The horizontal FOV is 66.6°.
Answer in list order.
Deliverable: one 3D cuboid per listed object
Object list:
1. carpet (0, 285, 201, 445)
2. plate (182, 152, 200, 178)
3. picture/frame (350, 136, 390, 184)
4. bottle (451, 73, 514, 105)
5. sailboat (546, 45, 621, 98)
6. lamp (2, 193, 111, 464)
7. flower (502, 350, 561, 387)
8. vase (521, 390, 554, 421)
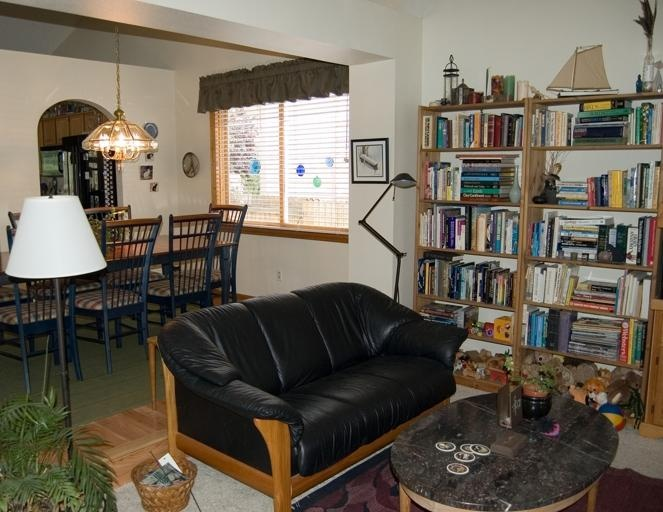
[{"bbox_3d":[-1.892,0.638,3.993,1.342,0.332,0.922,12,15,40],"label":"carpet"},{"bbox_3d":[-1.870,-1.226,6.750,0.319,0.322,0.027,14,15,42],"label":"plate"},{"bbox_3d":[0.361,-0.873,4.548,0.444,0.444,0.031,6,9,37],"label":"picture/frame"},{"bbox_3d":[1.277,-1.391,4.221,0.387,0.239,0.165,4,6,40],"label":"bottle"},{"bbox_3d":[1.885,-1.371,3.736,0.570,0.444,0.038,3,8,20],"label":"sailboat"},{"bbox_3d":[-1.235,0.320,2.411,0.517,1.206,0.418,7,13,44],"label":"lamp"},{"bbox_3d":[1.382,0.769,3.456,0.429,0.108,0.408,5,8,30],"label":"flower"},{"bbox_3d":[1.083,0.767,2.647,0.149,0.113,0.156,0,-2,22],"label":"vase"}]
